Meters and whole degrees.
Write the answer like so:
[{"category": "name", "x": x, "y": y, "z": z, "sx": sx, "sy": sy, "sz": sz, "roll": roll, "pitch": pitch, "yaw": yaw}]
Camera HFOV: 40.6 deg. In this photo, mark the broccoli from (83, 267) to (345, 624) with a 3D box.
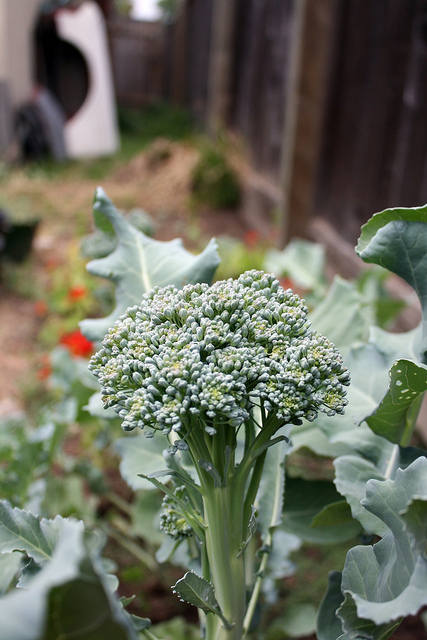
[{"category": "broccoli", "x": -0.004, "y": 0.116, "z": 0.596, "sx": 0.230, "sy": 0.302, "sz": 0.198, "roll": 30, "pitch": 44, "yaw": 35}]
